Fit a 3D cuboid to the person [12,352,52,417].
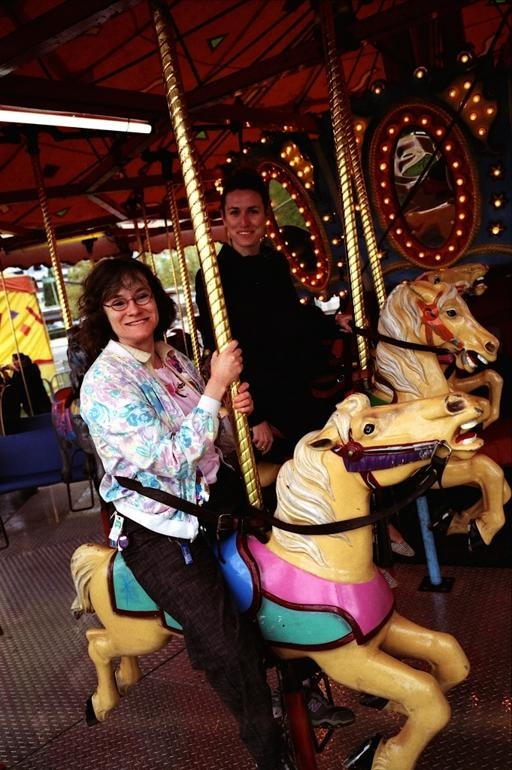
[{"bbox_3d":[-2.829,-0.008,7.008,0.361,0.714,1.655,-14,7,-20],"label":"person"}]
